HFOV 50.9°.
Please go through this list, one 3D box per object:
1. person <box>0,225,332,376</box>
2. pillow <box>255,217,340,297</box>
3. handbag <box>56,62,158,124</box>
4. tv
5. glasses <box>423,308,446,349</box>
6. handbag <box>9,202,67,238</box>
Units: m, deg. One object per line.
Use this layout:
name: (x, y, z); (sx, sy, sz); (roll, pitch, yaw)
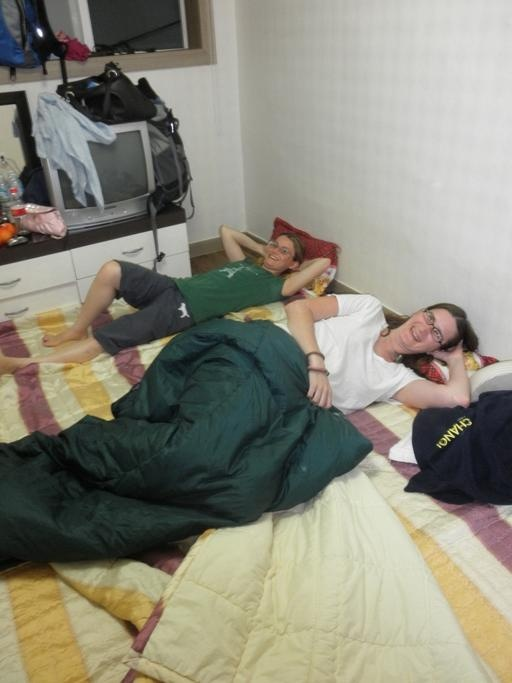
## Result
person: (-0.303, -0.202, 2.615); (1.719, 0.469, 0.589); (-3, 24, -26)
pillow: (0.259, -0.521, 3.109); (0.485, 0.405, 0.156); (29, -8, 6)
handbag: (-0.762, -1.213, 2.768); (0.444, 0.173, 0.302); (-8, 51, -31)
tv: (-0.835, -0.863, 2.791); (0.521, 0.446, 0.289); (-27, 51, -34)
glasses: (0.656, -0.054, 1.987); (0.033, 0.104, 0.099); (-16, 73, -13)
handbag: (-1.123, -0.642, 2.780); (0.245, 0.093, 0.188); (28, 47, 27)
